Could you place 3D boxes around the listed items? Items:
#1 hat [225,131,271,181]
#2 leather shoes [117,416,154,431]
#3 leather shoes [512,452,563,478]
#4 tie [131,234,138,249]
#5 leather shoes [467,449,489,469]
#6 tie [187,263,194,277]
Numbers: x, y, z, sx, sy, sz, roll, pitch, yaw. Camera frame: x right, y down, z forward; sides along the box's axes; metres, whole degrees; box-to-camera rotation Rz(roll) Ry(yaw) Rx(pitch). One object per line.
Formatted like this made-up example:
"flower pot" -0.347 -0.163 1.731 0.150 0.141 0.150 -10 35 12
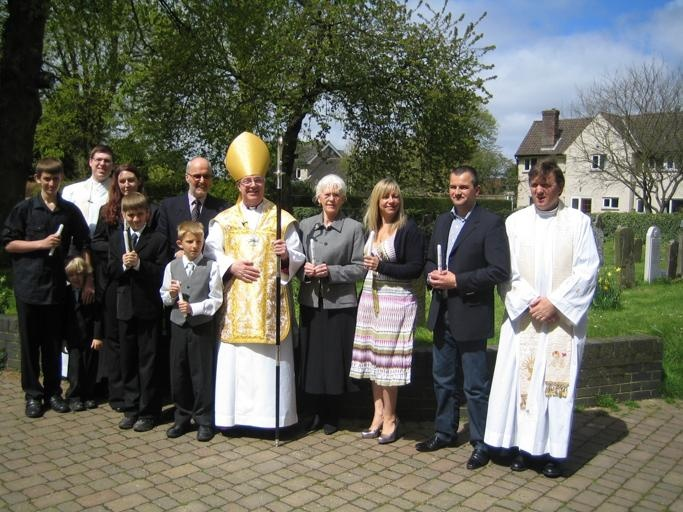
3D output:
"hat" -1.004 -1.062 7.750 0.370 0.565 0.217 1 28 -5
"leather shoes" -2.170 1.797 7.735 0.161 0.139 0.304 1 -19 26
"leather shoes" 1.863 2.055 7.118 0.191 0.248 0.578 -4 0 -36
"tie" -2.245 -0.152 7.840 0.079 0.029 0.194 -6 49 -5
"leather shoes" 1.369 2.004 7.185 0.125 0.166 0.326 4 6 42
"tie" -1.593 0.144 7.628 0.107 0.113 0.033 -2 -12 26
